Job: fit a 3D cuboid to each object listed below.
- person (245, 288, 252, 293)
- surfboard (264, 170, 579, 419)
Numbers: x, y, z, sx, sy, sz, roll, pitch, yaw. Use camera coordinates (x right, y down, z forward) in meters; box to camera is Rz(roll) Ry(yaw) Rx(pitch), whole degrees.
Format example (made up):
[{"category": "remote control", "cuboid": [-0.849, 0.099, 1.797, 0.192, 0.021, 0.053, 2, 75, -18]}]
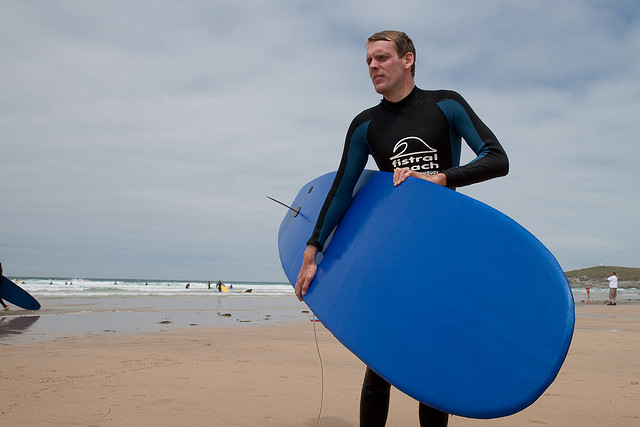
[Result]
[{"category": "person", "cuboid": [-5.406, 5.846, 38.308, 0.285, 0.213, 0.981, 3, -4, -15]}, {"category": "surfboard", "cuboid": [0.768, 0.455, 3.317, 1.622, 1.548, 0.428, 1, -3, 24]}]
